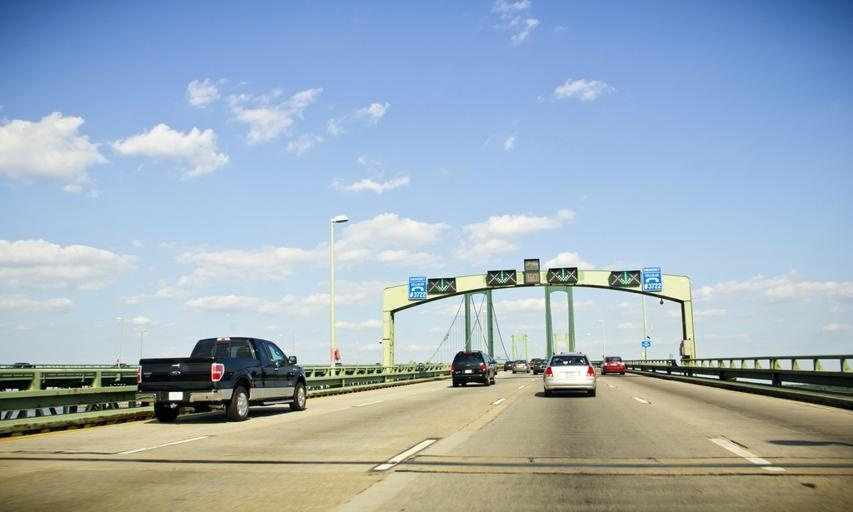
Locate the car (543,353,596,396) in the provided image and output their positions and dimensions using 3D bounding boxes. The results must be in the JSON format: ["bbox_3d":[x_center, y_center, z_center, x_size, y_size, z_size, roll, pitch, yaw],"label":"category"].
[{"bbox_3d":[6.228,5.231,28.276,2.116,1.876,0.995,-2,-11,3],"label":"car"}]

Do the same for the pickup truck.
[{"bbox_3d":[-6.963,4.307,22.569,2.321,2.800,5.363,-8,-13,29],"label":"pickup truck"}]

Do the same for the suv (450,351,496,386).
[{"bbox_3d":[2.725,6.997,39.947,2.087,2.163,1.446,-6,-12,20],"label":"suv"}]
